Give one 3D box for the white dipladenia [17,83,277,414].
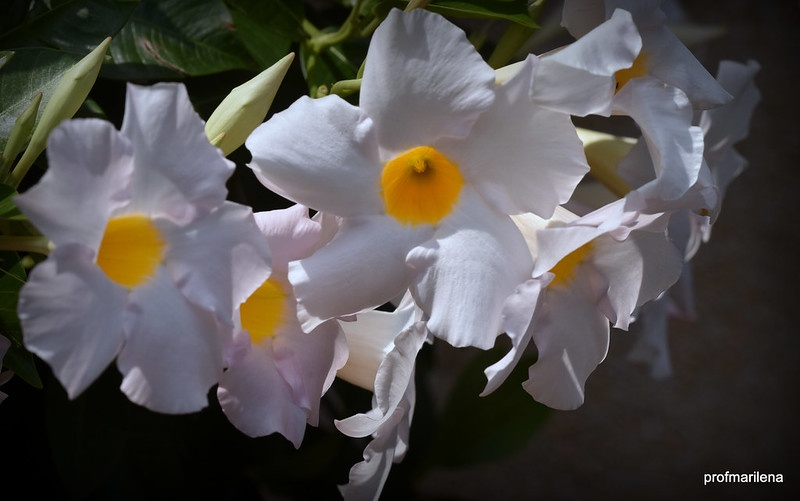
[{"bbox_3d":[-0.305,-0.001,0.894,0.287,0.388,0.119,-1,18,-11],"label":"white dipladenia"}]
